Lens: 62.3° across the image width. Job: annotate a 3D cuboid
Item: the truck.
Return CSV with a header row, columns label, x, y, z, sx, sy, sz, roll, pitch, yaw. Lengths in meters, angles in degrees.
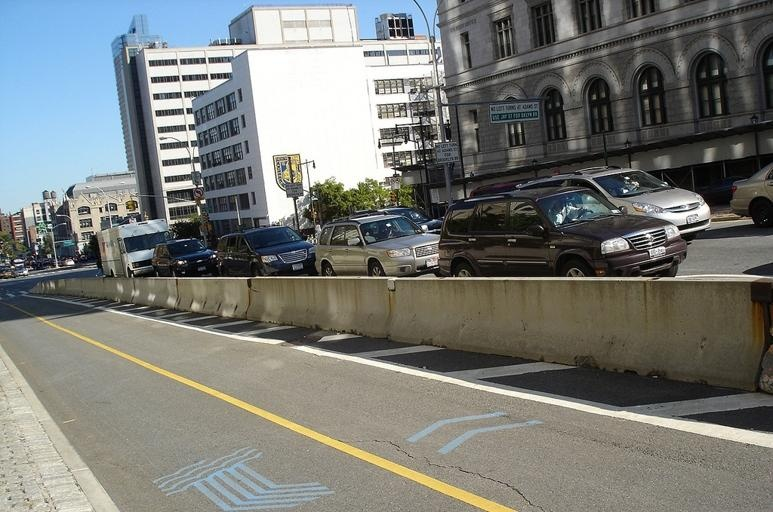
label,x,y,z,sx,sy,sz,roll,pitch,yaw
truck,-14.895,-0.346,37.538,3.168,2.980,5.499,-3,-1,-33
